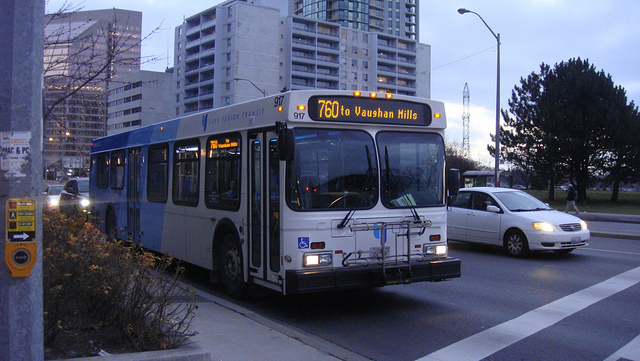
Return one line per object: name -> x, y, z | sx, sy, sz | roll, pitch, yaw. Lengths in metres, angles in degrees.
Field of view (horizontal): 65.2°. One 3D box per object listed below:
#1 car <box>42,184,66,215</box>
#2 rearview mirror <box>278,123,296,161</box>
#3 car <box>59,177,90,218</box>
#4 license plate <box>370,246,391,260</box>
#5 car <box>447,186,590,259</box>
car -> -11.249, 0.800, 21.187 | 1.111, 0.954, 2.425 | 1, -4, -29
rearview mirror -> -0.687, -0.726, 10.031 | 0.332, 0.611, 0.250 | -1, 6, -6
car -> -10.899, 0.774, 22.185 | 1.431, 1.799, 2.823 | 0, -1, -25
license plate -> 1.273, 1.535, 10.688 | 0.485, 0.265, 0.111 | -3, 6, -24
car -> 6.379, 1.358, 16.641 | 4.069, 2.059, 1.560 | 5, 7, 43
